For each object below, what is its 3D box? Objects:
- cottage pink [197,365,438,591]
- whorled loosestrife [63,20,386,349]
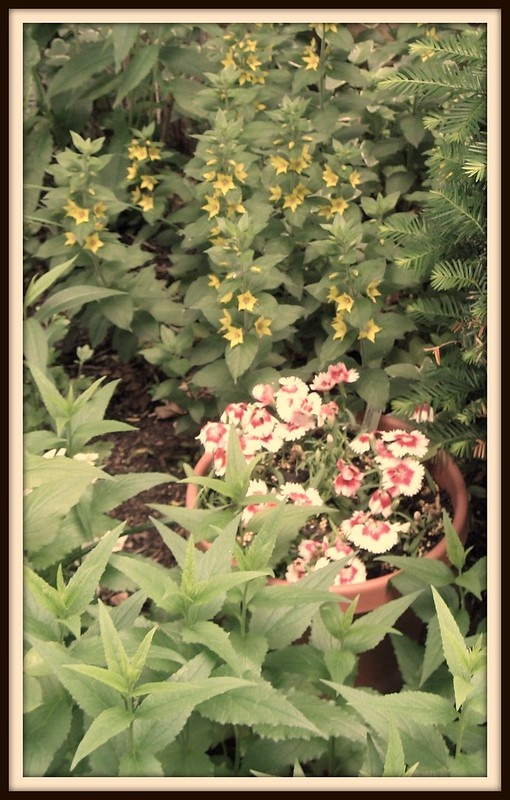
[{"bbox_3d":[0.168,0.200,1.954,0.629,0.334,0.633,27,44,37],"label":"cottage pink"},{"bbox_3d":[-0.101,-0.840,2.751,1.007,1.453,0.814,-11,17,-14],"label":"whorled loosestrife"}]
